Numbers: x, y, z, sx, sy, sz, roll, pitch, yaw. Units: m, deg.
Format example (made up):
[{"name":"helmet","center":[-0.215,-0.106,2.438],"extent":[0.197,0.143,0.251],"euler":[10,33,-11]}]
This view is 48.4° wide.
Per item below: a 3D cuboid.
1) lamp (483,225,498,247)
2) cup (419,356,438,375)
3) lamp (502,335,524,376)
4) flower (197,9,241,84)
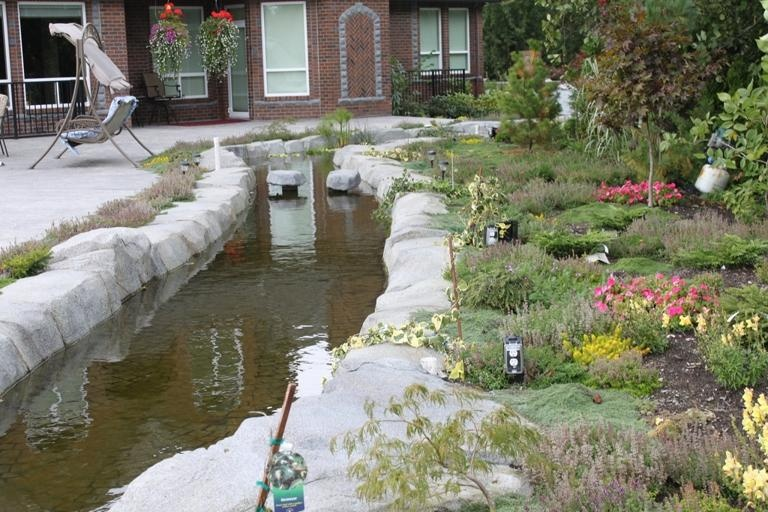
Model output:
[{"name":"lamp","center":[1.248,-0.232,9.901],"extent":[0.147,0.220,0.169],"euler":[-2,13,-2]},{"name":"cup","center":[0.426,0.986,7.767],"extent":[0.184,0.094,0.254],"euler":[-1,14,3]},{"name":"lamp","center":[1.139,0.866,7.511],"extent":[0.178,0.364,0.165],"euler":[1,13,8]},{"name":"flower","center":[-4.567,-5.865,24.034],"extent":[1.151,1.959,2.819],"euler":[-4,14,-10]}]
